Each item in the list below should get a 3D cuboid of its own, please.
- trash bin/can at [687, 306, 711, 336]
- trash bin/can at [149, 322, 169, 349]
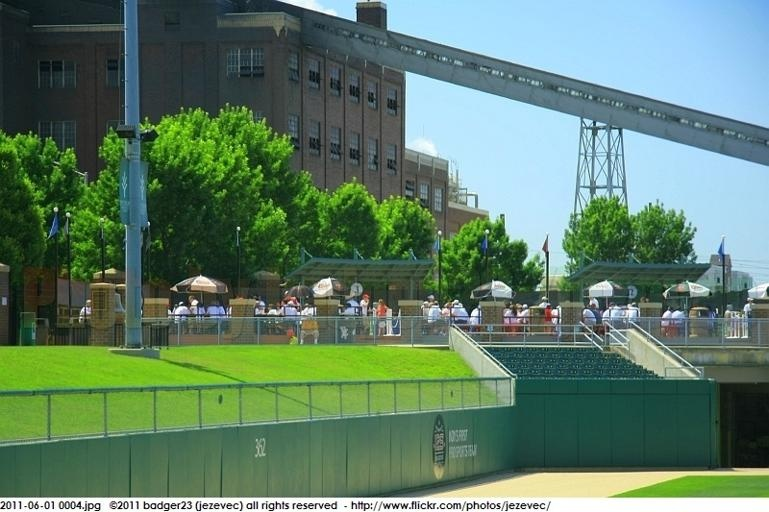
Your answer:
[{"bbox_3d":[19.553,4.125,90.017,1.547,2.483,1.803,1,-4,12],"label":"trash bin/can"},{"bbox_3d":[-12.458,4.396,81.673,1.148,1.724,1.681,-2,-5,12],"label":"trash bin/can"}]
